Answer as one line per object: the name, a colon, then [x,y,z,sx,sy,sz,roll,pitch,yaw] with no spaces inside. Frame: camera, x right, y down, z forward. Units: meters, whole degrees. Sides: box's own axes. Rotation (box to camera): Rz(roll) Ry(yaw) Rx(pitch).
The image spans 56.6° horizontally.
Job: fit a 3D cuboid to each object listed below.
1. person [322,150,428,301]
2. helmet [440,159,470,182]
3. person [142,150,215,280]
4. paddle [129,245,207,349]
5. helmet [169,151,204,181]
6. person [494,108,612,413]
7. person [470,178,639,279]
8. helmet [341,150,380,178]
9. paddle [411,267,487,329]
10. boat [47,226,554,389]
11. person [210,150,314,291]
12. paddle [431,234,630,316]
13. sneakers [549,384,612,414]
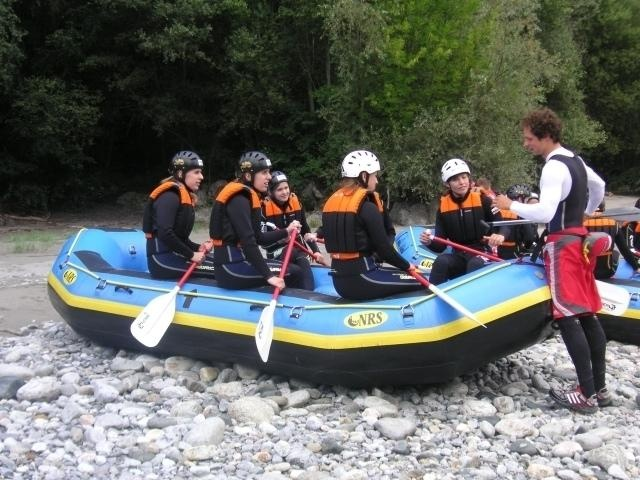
person: [0.598,-0.149,6.464,1.077,1.586,1.055,-1,-1,-26]
helmet: [1.627,-0.817,7.181,0.231,0.272,0.330,-14,-15,-9]
person: [-1.573,-0.285,7.327,1.146,1.581,0.932,3,0,-26]
paddle: [-1.681,0.662,6.574,0.312,1.360,0.071,33,-13,-7]
helmet: [-1.619,-0.918,7.314,0.378,0.395,0.302,-11,16,-4]
person: [2.434,0.181,5.808,1.048,2.864,0.781,7,14,28]
person: [3.304,-0.309,8.597,2.129,0.525,1.225,6,26,12]
helmet: [0.418,-0.767,6.083,0.331,0.225,0.258,5,-2,-14]
paddle: [1.290,0.597,5.886,0.086,0.140,0.952,-35,46,-19]
boat: [-0.511,0.845,6.448,4.231,0.972,2.261,0,2,25]
person: [-0.617,-0.062,6.662,1.126,1.818,0.881,0,-1,7]
paddle: [2.354,0.532,6.471,1.712,0.340,0.980,28,2,32]
sneakers: [2.532,1.544,5.845,0.598,0.302,0.231,6,4,35]
